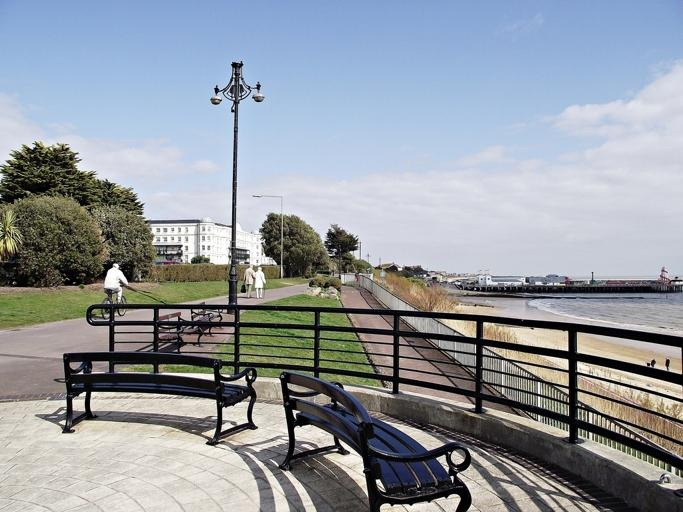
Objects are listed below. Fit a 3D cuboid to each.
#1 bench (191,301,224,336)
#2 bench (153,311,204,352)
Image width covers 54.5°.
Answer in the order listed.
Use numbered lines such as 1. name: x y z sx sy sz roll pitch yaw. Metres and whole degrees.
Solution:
1. bench: -3.457 1.660 17.165 0.515 0.596 1.364 -3 1 -8
2. bench: -4.051 1.882 17.404 0.830 0.847 2.043 5 5 10
